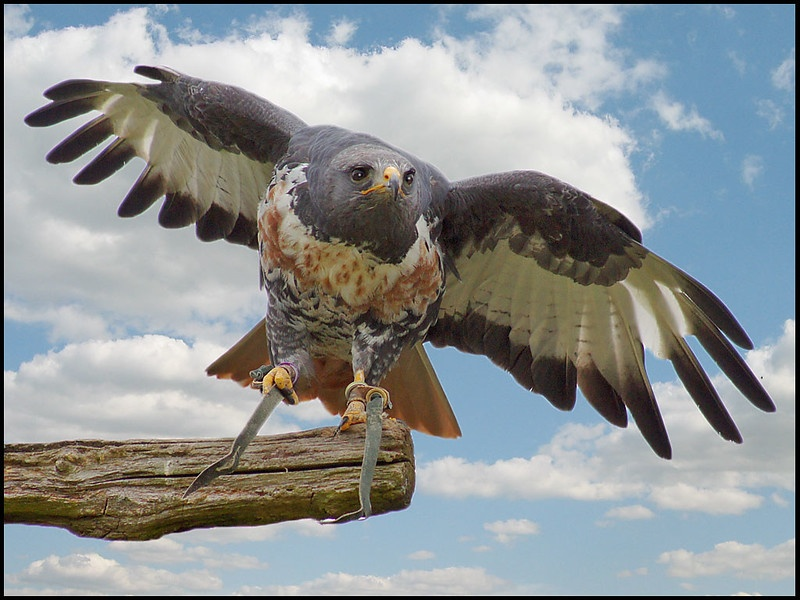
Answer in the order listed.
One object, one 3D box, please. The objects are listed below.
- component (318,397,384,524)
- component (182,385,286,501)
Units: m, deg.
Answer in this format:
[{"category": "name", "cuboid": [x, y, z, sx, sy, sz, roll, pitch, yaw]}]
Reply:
[{"category": "component", "cuboid": [-0.256, 0.923, 9.459, 0.286, 0.823, 0.226, 3, -23, -2]}, {"category": "component", "cuboid": [-0.959, 0.834, 9.539, 0.624, 0.636, 0.337, -16, -29, 37]}]
